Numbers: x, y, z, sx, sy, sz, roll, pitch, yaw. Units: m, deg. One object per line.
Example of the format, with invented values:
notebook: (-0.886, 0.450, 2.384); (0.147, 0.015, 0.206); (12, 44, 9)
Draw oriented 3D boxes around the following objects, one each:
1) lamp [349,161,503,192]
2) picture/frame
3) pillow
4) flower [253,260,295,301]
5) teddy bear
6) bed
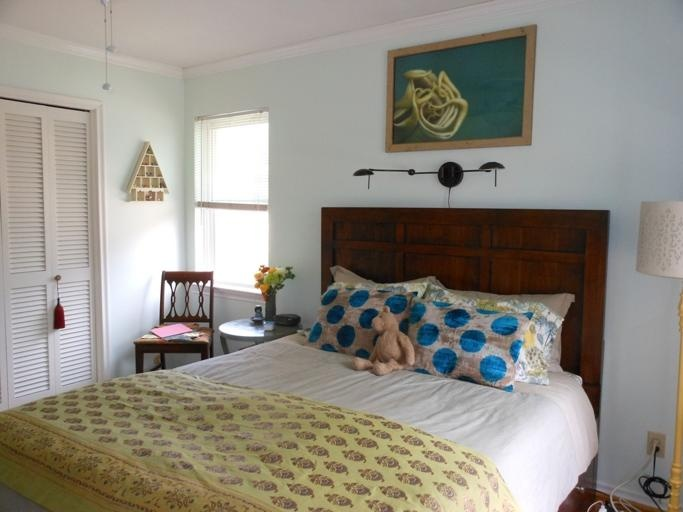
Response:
lamp: (0.590, -0.540, 3.459); (1.042, 0.214, 0.226); (7, 15, 29)
picture/frame: (0.823, -1.136, 3.351); (0.973, 0.677, 0.037); (3, 3, 32)
pillow: (0.515, 0.453, 3.012); (1.443, 0.406, 0.739); (5, 14, 24)
flower: (-0.547, 0.192, 4.140); (0.283, 0.208, 0.279); (-15, 6, -4)
teddy bear: (0.274, 0.487, 2.885); (0.343, 0.421, 0.359); (6, -9, -28)
bed: (-0.195, 0.542, 2.911); (1.697, 1.164, 1.919); (3, 6, 31)
